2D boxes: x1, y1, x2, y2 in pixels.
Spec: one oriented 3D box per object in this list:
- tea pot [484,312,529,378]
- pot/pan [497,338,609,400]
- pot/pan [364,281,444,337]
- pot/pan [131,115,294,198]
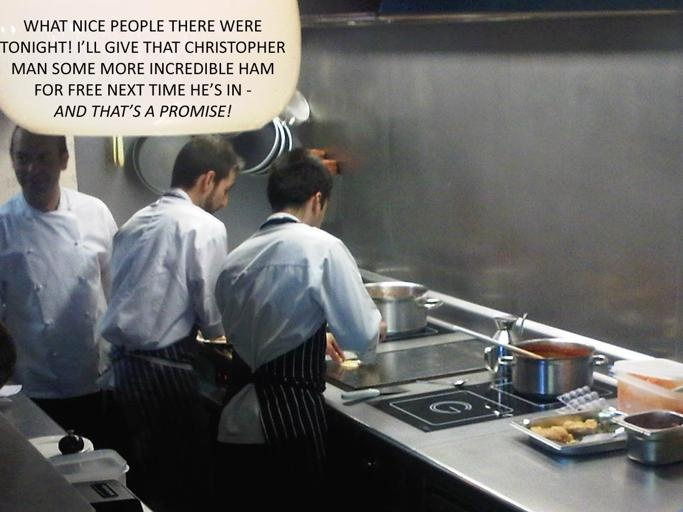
[{"bbox_3d":[0.409,0.226,1.800,0.127,0.155,0.081,-9,-3,25],"label":"tea pot"},{"bbox_3d":[0.500,0.264,1.645,0.204,0.119,0.123,1,12,11],"label":"pot/pan"},{"bbox_3d":[0.181,0.178,2.093,0.250,0.099,0.162,-7,-5,36],"label":"pot/pan"},{"bbox_3d":[-0.356,-0.288,2.018,0.360,0.222,0.051,-18,-13,-33],"label":"pot/pan"}]
